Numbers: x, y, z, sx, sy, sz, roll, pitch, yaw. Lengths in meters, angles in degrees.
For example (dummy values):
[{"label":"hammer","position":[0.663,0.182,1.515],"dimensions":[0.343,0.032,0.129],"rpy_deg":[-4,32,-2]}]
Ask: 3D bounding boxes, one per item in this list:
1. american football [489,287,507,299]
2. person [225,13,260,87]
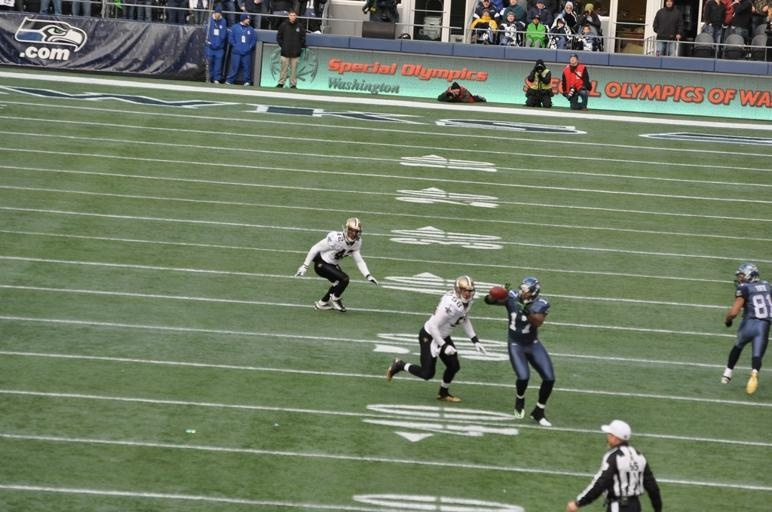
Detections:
[{"label":"american football","position":[2.281,0.737,43.341],"dimensions":[0.311,0.135,0.276],"rpy_deg":[1,14,4]},{"label":"person","position":[-3.868,-5.561,58.831],"dimensions":[0.760,1.920,0.822],"rpy_deg":[4,8,-4]}]
